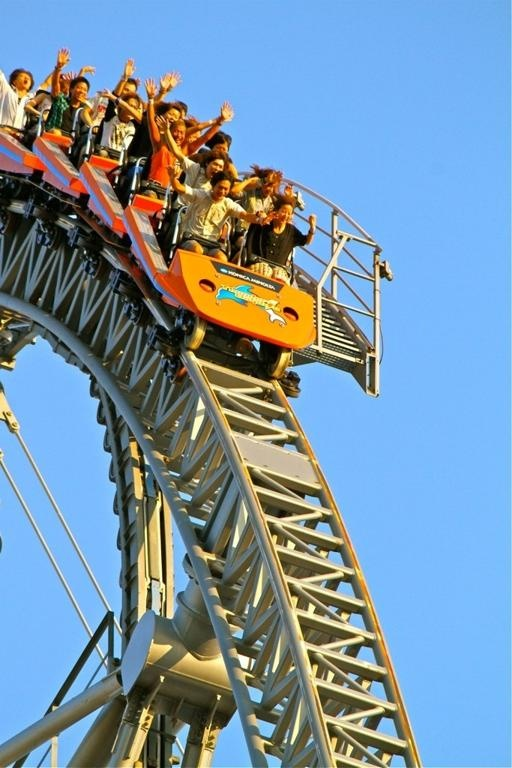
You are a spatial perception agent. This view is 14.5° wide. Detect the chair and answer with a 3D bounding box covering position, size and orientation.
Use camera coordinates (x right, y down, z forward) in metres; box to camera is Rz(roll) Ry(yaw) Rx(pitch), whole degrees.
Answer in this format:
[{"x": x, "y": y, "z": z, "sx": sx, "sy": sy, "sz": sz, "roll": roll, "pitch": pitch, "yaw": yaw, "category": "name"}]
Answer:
[{"x": -0.735, "y": -2.027, "z": 22.933, "sx": 1.355, "sy": 2.571, "sz": 1.077, "roll": 14, "pitch": -65, "yaw": -40, "category": "chair"}]
